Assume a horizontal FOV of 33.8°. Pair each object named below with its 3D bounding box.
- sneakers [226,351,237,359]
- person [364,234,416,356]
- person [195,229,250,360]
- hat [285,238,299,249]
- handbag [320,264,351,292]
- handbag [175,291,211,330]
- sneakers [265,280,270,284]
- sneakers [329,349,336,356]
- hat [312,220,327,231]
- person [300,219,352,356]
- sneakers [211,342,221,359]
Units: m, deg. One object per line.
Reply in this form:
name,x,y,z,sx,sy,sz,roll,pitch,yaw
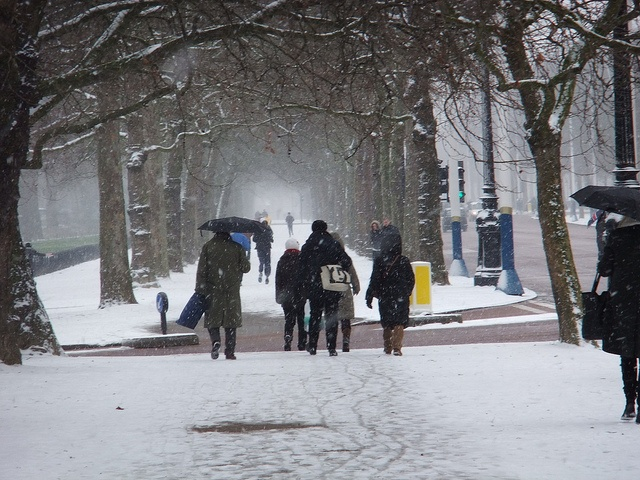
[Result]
sneakers,-1.386,1.778,16.211,0.130,0.112,0.115,0,3,10
person,1.069,0.832,16.314,0.561,1.908,0.686,-4,0,37
person,-1.500,0.858,16.196,0.736,1.941,0.664,-4,0,17
hat,-0.468,0.065,17.329,0.226,0.188,0.157,-16,14,-11
handbag,0.204,0.575,16.033,0.442,0.374,0.219,2,-10,-30
handbag,-1.971,1.087,16.165,0.445,0.567,0.187,35,-6,-10
sneakers,-1.560,1.199,30.441,0.143,0.179,0.112,1,-8,-2
sneakers,0.178,1.748,16.319,0.112,0.057,0.141,2,-3,1
hat,-0.006,-0.223,16.215,0.216,0.179,0.157,-4,4,-16
person,0.087,0.751,16.278,0.792,2.092,0.654,-4,0,4
sneakers,-1.631,1.713,16.298,0.130,0.267,0.121,10,8,-10
